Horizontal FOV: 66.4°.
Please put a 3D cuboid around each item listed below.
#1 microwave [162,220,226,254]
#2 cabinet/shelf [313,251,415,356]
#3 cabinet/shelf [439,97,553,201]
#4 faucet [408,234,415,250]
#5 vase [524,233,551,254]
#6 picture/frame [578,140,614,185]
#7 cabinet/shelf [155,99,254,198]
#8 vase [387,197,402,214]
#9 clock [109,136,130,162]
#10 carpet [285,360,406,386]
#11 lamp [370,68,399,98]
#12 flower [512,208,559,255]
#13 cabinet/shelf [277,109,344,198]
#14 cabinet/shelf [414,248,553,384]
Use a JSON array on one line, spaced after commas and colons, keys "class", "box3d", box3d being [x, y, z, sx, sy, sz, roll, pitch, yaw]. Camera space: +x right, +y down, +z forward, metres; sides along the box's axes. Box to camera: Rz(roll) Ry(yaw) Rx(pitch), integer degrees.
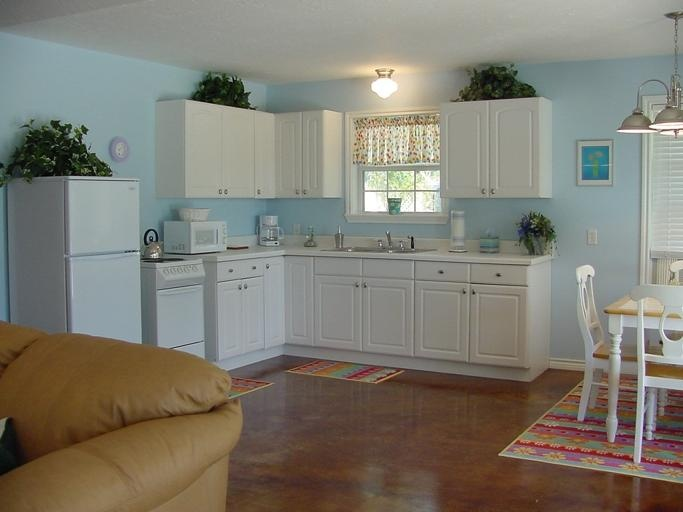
[{"class": "microwave", "box3d": [-1.528, -0.193, 5.502, 0.410, 0.305, 0.559, 3, 7, 32]}, {"class": "cabinet/shelf", "box3d": [0.092, 0.528, 5.638, 1.229, 0.969, 0.640, 6, -10, -23]}, {"class": "cabinet/shelf", "box3d": [1.600, -1.064, 5.301, 0.470, 0.930, 1.118, -14, 17, -41]}, {"class": "faucet", "box3d": [0.766, -0.148, 5.732, 0.073, 0.152, 0.223, 0, 5, 6]}, {"class": "vase", "box3d": [1.931, -0.132, 5.175, 0.217, 0.197, 0.223, 3, 4, 43]}, {"class": "picture/frame", "box3d": [2.455, -0.898, 5.089, 0.016, 0.453, 0.354, -25, 24, -39]}, {"class": "cabinet/shelf", "box3d": [-1.471, -1.112, 5.657, 0.453, 0.973, 1.177, 7, 11, 23]}, {"class": "vase", "box3d": [0.606, -0.564, 5.915, 0.173, 0.197, 0.136, -1, 5, -6]}, {"class": "clock", "box3d": [-2.126, -1.025, 5.017, 0.081, 0.256, 0.213, 1, 5, 18]}, {"class": "carpet", "box3d": [0.035, 1.156, 5.244, 1.049, 0.012, 0.600, 1, 5, 25]}, {"class": "lamp", "box3d": [0.480, -1.829, 5.658, 0.315, 0.294, 0.302, 1, -2, -28]}, {"class": "flower", "box3d": [1.888, -0.225, 5.118, 0.451, 0.417, 0.434, -1, 2, 1]}, {"class": "cabinet/shelf", "box3d": [-0.368, -1.172, 6.044, 0.799, 0.972, 0.366, -1, 5, -8]}, {"class": "cabinet/shelf", "box3d": [1.479, 0.640, 5.346, 1.298, 1.197, 0.926, 0, -5, 38]}]
